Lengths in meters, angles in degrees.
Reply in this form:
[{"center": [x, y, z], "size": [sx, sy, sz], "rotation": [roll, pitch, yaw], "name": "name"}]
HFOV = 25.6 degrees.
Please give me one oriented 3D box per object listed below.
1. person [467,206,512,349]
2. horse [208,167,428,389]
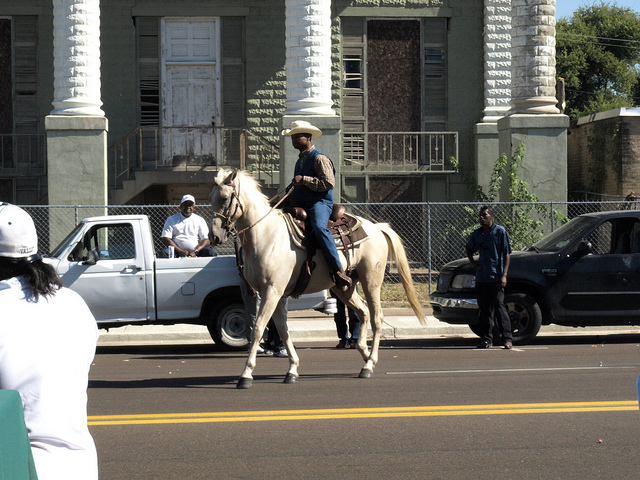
[{"center": [3.841, 0.847, 31.549], "size": [1.004, 3.068, 0.725], "rotation": [1, 5, 6], "name": "person"}, {"center": [-0.048, 0.888, 29.557], "size": [5.193, 4.258, 1.261], "rotation": [3, -6, -31], "name": "horse"}]
